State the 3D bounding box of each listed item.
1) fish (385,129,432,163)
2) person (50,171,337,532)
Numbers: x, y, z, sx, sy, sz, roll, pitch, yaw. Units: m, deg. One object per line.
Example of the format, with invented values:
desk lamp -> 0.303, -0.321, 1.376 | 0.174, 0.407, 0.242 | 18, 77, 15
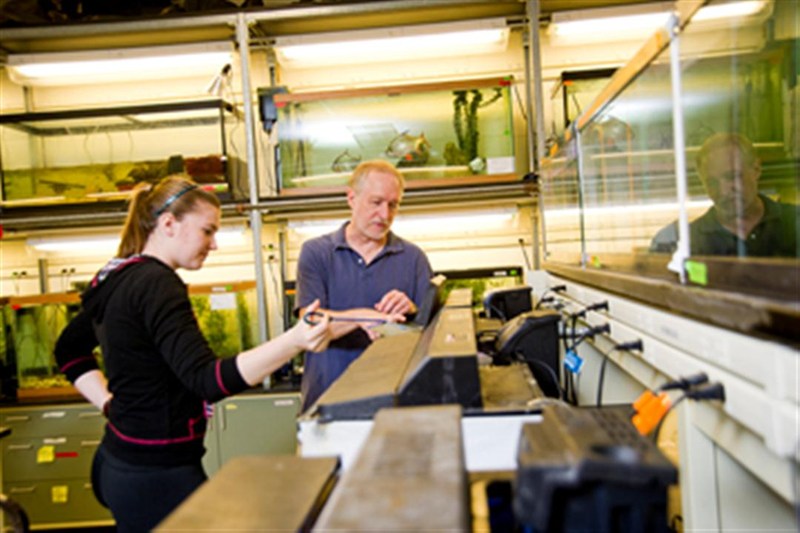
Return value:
fish -> 0.004, -0.802, 4.219 | 0.427, 0.242, 0.132 | -5, -2, -3
person -> -0.844, 0.316, 2.355 | 1.177, 1.293, 0.422 | -1, 7, 31
